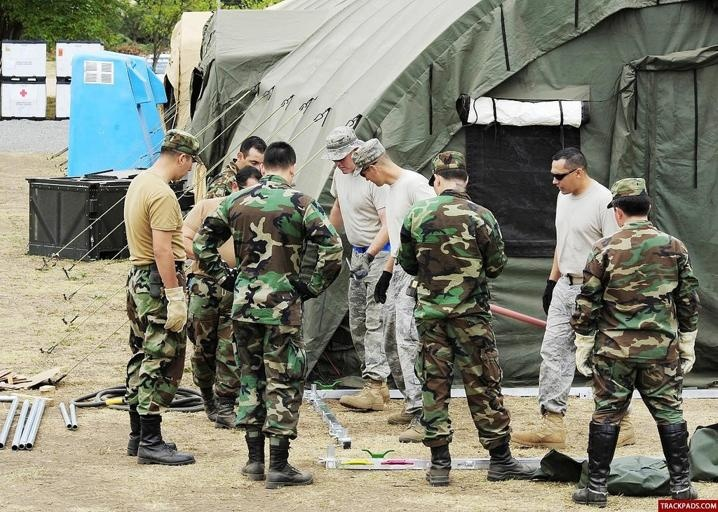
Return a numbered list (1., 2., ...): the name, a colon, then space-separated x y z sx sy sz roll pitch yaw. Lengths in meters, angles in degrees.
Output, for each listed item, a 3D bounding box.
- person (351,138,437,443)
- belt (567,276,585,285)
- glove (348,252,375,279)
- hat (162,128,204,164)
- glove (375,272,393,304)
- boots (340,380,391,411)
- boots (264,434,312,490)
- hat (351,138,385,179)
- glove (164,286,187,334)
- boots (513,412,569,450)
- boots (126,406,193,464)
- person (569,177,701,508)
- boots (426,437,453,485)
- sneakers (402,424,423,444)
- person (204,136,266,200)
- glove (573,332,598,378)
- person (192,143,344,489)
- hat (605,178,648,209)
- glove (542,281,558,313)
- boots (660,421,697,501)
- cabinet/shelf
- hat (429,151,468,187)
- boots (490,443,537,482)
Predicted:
1. person: 0.377 0.312 11.896 0.692 2.739 1.054 -4 15 -16
2. belt: 1.993 0.230 11.656 0.098 0.082 0.087 1 21 5
3. glove: 0.043 0.101 12.206 0.163 0.159 0.225 -35 5 24
4. hat: -1.530 -0.972 11.239 0.377 0.169 0.239 8 11 -29
5. glove: 0.228 0.292 11.759 0.170 0.088 0.298 16 47 7
6. boots: 0.100 1.405 12.572 0.636 0.384 0.212 6 -9 -5
7. boots: -0.638 1.779 10.745 0.571 0.479 0.267 -2 2 -21
8. hat: 0.072 -0.904 11.871 0.177 0.363 0.238 48 11 -31
9. glove: -1.646 0.469 11.008 0.201 0.328 0.257 3 2 -17
10. boots: 1.645 1.615 11.655 0.537 0.328 0.217 6 -9 -7
11. boots: -1.653 1.647 11.291 0.780 0.487 0.306 1 2 -9
12. person: 2.288 0.725 10.509 1.040 2.611 0.863 2 14 8
13. boots: 0.685 1.779 10.975 0.195 0.373 0.412 1 0 -10
14. sneakers: 0.513 1.657 11.768 0.203 0.145 0.188 9 16 32
15. person: -1.246 -0.910 12.940 0.416 0.613 0.801 28 26 12
16. glove: 1.915 0.860 10.648 0.173 0.309 0.113 -10 25 -27
17. person: -0.759 0.497 10.847 1.064 2.821 0.847 11 18 36
18. hat: 2.227 -0.519 10.654 0.312 0.145 0.234 -10 -4 35
19. glove: 1.780 0.381 11.918 0.114 0.270 0.193 22 -28 3
20. boots: 2.623 1.704 10.396 0.327 0.672 0.260 1 14 1
21. cabinet/shelf: -3.761 -0.590 19.298 2.001 1.002 1.852 -1 2 -34
22. hat: 0.757 -0.802 11.077 0.275 0.175 0.346 -3 -8 -41
23. boots: 1.342 1.779 10.992 0.575 0.329 0.194 4 -5 -23
